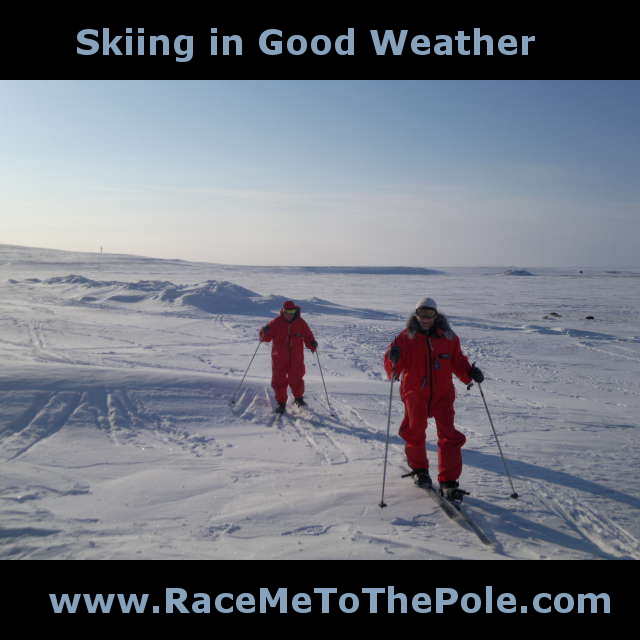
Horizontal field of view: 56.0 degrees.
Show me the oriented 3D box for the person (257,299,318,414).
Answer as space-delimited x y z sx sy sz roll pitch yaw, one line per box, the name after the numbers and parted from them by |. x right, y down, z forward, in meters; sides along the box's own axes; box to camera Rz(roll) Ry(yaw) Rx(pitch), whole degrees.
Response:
-0.456 0.477 8.487 0.735 1.481 0.694 -3 7 -35 | person

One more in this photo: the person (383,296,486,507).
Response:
0.993 0.662 5.426 0.866 1.719 0.721 5 7 34 | person

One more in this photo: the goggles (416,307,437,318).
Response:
0.975 -0.075 5.507 0.185 0.094 0.103 1 6 4 | goggles
